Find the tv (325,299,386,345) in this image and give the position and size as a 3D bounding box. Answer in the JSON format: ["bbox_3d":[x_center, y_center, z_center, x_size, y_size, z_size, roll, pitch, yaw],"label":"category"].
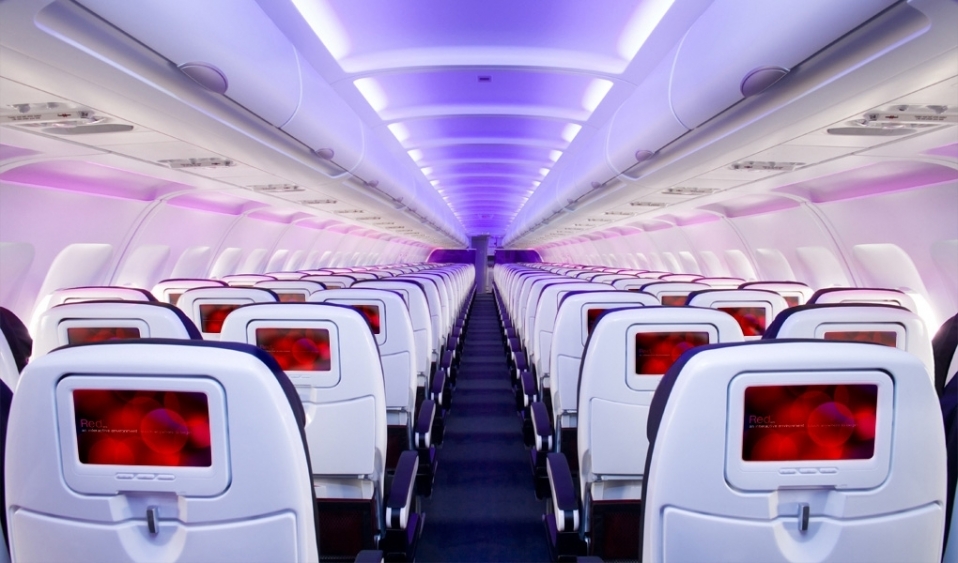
[{"bbox_3d":[-0.951,0.291,4.989,0.459,0.332,0.123,0,13,1],"label":"tv"}]

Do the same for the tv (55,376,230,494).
[{"bbox_3d":[-1.935,0.863,3.785,0.820,0.512,0.080,0,5,4],"label":"tv"}]

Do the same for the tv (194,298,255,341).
[{"bbox_3d":[-2.089,0.288,5.404,0.414,0.300,0.203,1,11,0],"label":"tv"}]

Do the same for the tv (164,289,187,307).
[{"bbox_3d":[-3.073,0.151,6.671,0.167,0.136,0.036,17,15,-4],"label":"tv"}]
